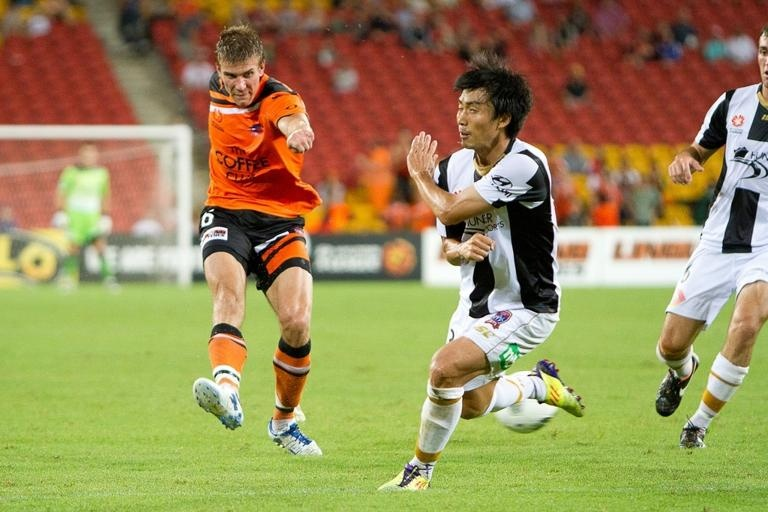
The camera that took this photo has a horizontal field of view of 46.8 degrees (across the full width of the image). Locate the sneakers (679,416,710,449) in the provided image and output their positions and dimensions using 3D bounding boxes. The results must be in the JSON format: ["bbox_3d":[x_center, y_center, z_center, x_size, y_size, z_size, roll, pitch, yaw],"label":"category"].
[{"bbox_3d":[2.689,1.517,7.628,0.328,0.199,0.189,-2,7,-20],"label":"sneakers"}]

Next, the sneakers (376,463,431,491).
[{"bbox_3d":[0.129,1.689,6.815,0.443,0.188,0.160,-2,5,-21],"label":"sneakers"}]

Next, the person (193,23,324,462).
[{"bbox_3d":[-1.005,-0.127,7.439,1.025,3.555,1.051,-1,6,-12],"label":"person"}]
